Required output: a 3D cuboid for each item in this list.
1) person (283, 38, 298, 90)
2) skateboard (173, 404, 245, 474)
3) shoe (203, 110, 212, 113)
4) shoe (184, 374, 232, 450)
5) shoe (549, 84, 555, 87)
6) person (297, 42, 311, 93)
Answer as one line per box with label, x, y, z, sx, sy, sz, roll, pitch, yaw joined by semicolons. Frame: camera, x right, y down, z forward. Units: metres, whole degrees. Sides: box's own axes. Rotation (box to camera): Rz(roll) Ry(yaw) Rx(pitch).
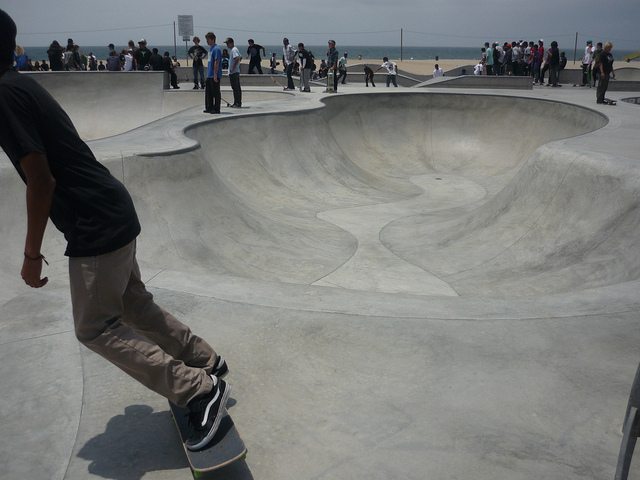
person;-1.080;-6.068;17.671;0.515;1.689;0.619;-1;21;-12
skateboard;-0.602;1.086;2.805;0.295;0.113;0.838;-15;8;-17
shoe;-2.662;-3.014;11.980;0.123;0.071;0.397;-2;8;-29
shoe;-0.574;0.886;2.727;0.138;0.188;0.404;-24;32;51
shoe;9.557;-6.341;21.033;0.149;0.036;0.147;-22;18;-4
person;-0.554;-6.110;18.196;0.537;1.782;0.546;8;21;27
